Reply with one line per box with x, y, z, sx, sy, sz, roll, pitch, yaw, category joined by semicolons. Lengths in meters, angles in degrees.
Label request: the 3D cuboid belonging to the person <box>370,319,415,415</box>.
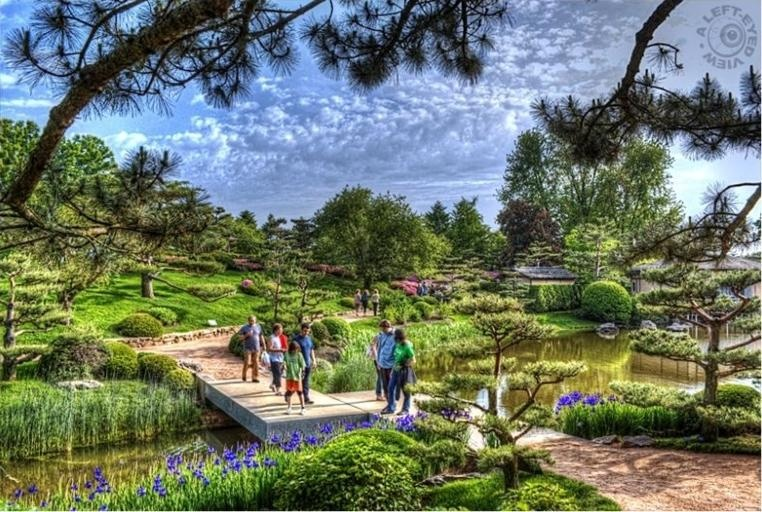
0.318;2.498;16.076;0.815;1.879;1.292;-6;1;-1;person

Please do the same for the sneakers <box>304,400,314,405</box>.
-1.717;3.475;16.737;0.195;0.146;0.068;-4;-4;8;sneakers
